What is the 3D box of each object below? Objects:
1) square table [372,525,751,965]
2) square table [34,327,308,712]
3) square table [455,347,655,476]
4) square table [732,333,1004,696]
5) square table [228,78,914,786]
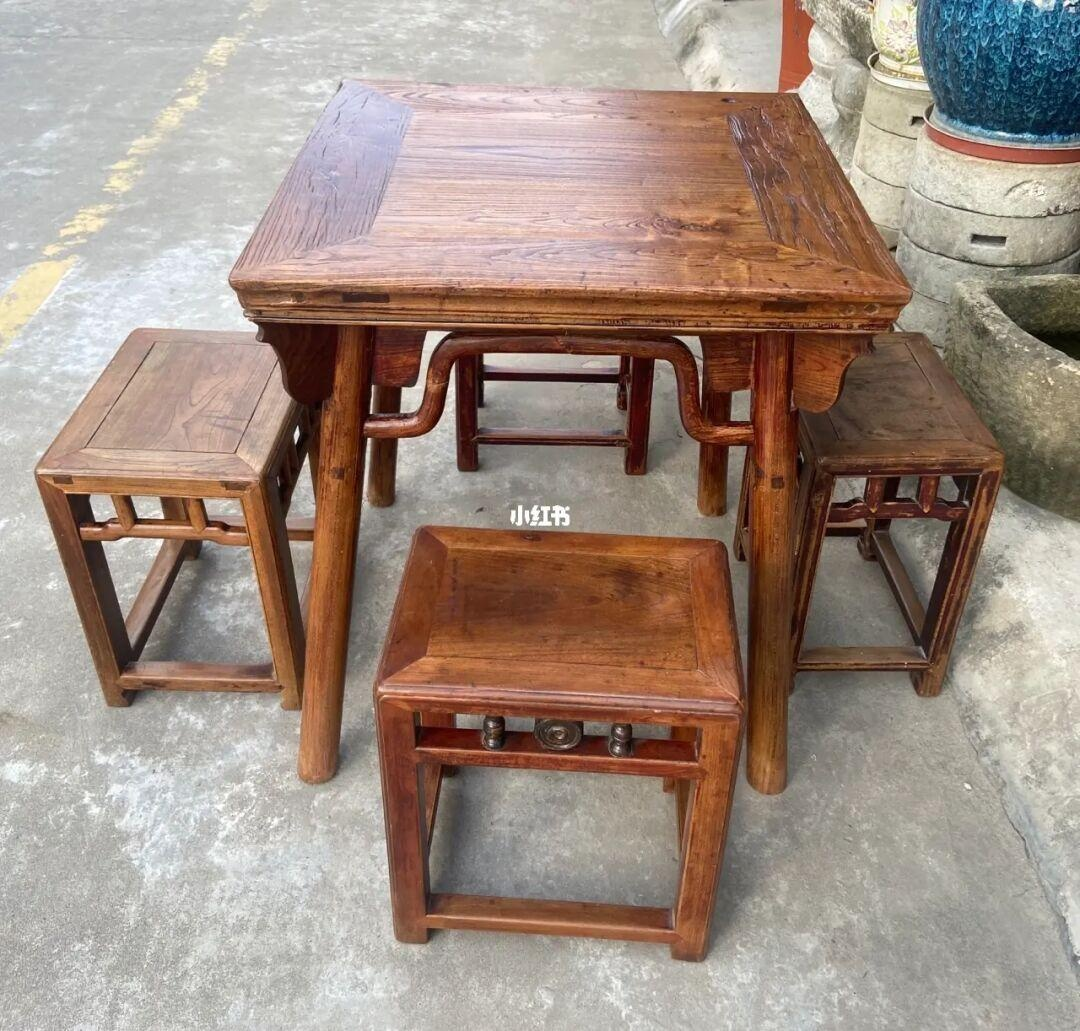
[{"bbox_3d":[0.047,0.387,1.843,0.736,0.530,0.638,-4,30,-7],"label":"square table"},{"bbox_3d":[-0.879,0.048,2.243,0.671,0.814,0.710,4,48,-2],"label":"square table"},{"bbox_3d":[0.052,-0.381,3.063,0.573,0.362,0.474,4,46,1],"label":"square table"},{"bbox_3d":[0.783,0.009,2.183,0.616,0.869,0.579,1,55,4],"label":"square table"},{"bbox_3d":[0.047,-0.306,2.636,1.909,1.556,1.558,2,54,0],"label":"square table"}]
